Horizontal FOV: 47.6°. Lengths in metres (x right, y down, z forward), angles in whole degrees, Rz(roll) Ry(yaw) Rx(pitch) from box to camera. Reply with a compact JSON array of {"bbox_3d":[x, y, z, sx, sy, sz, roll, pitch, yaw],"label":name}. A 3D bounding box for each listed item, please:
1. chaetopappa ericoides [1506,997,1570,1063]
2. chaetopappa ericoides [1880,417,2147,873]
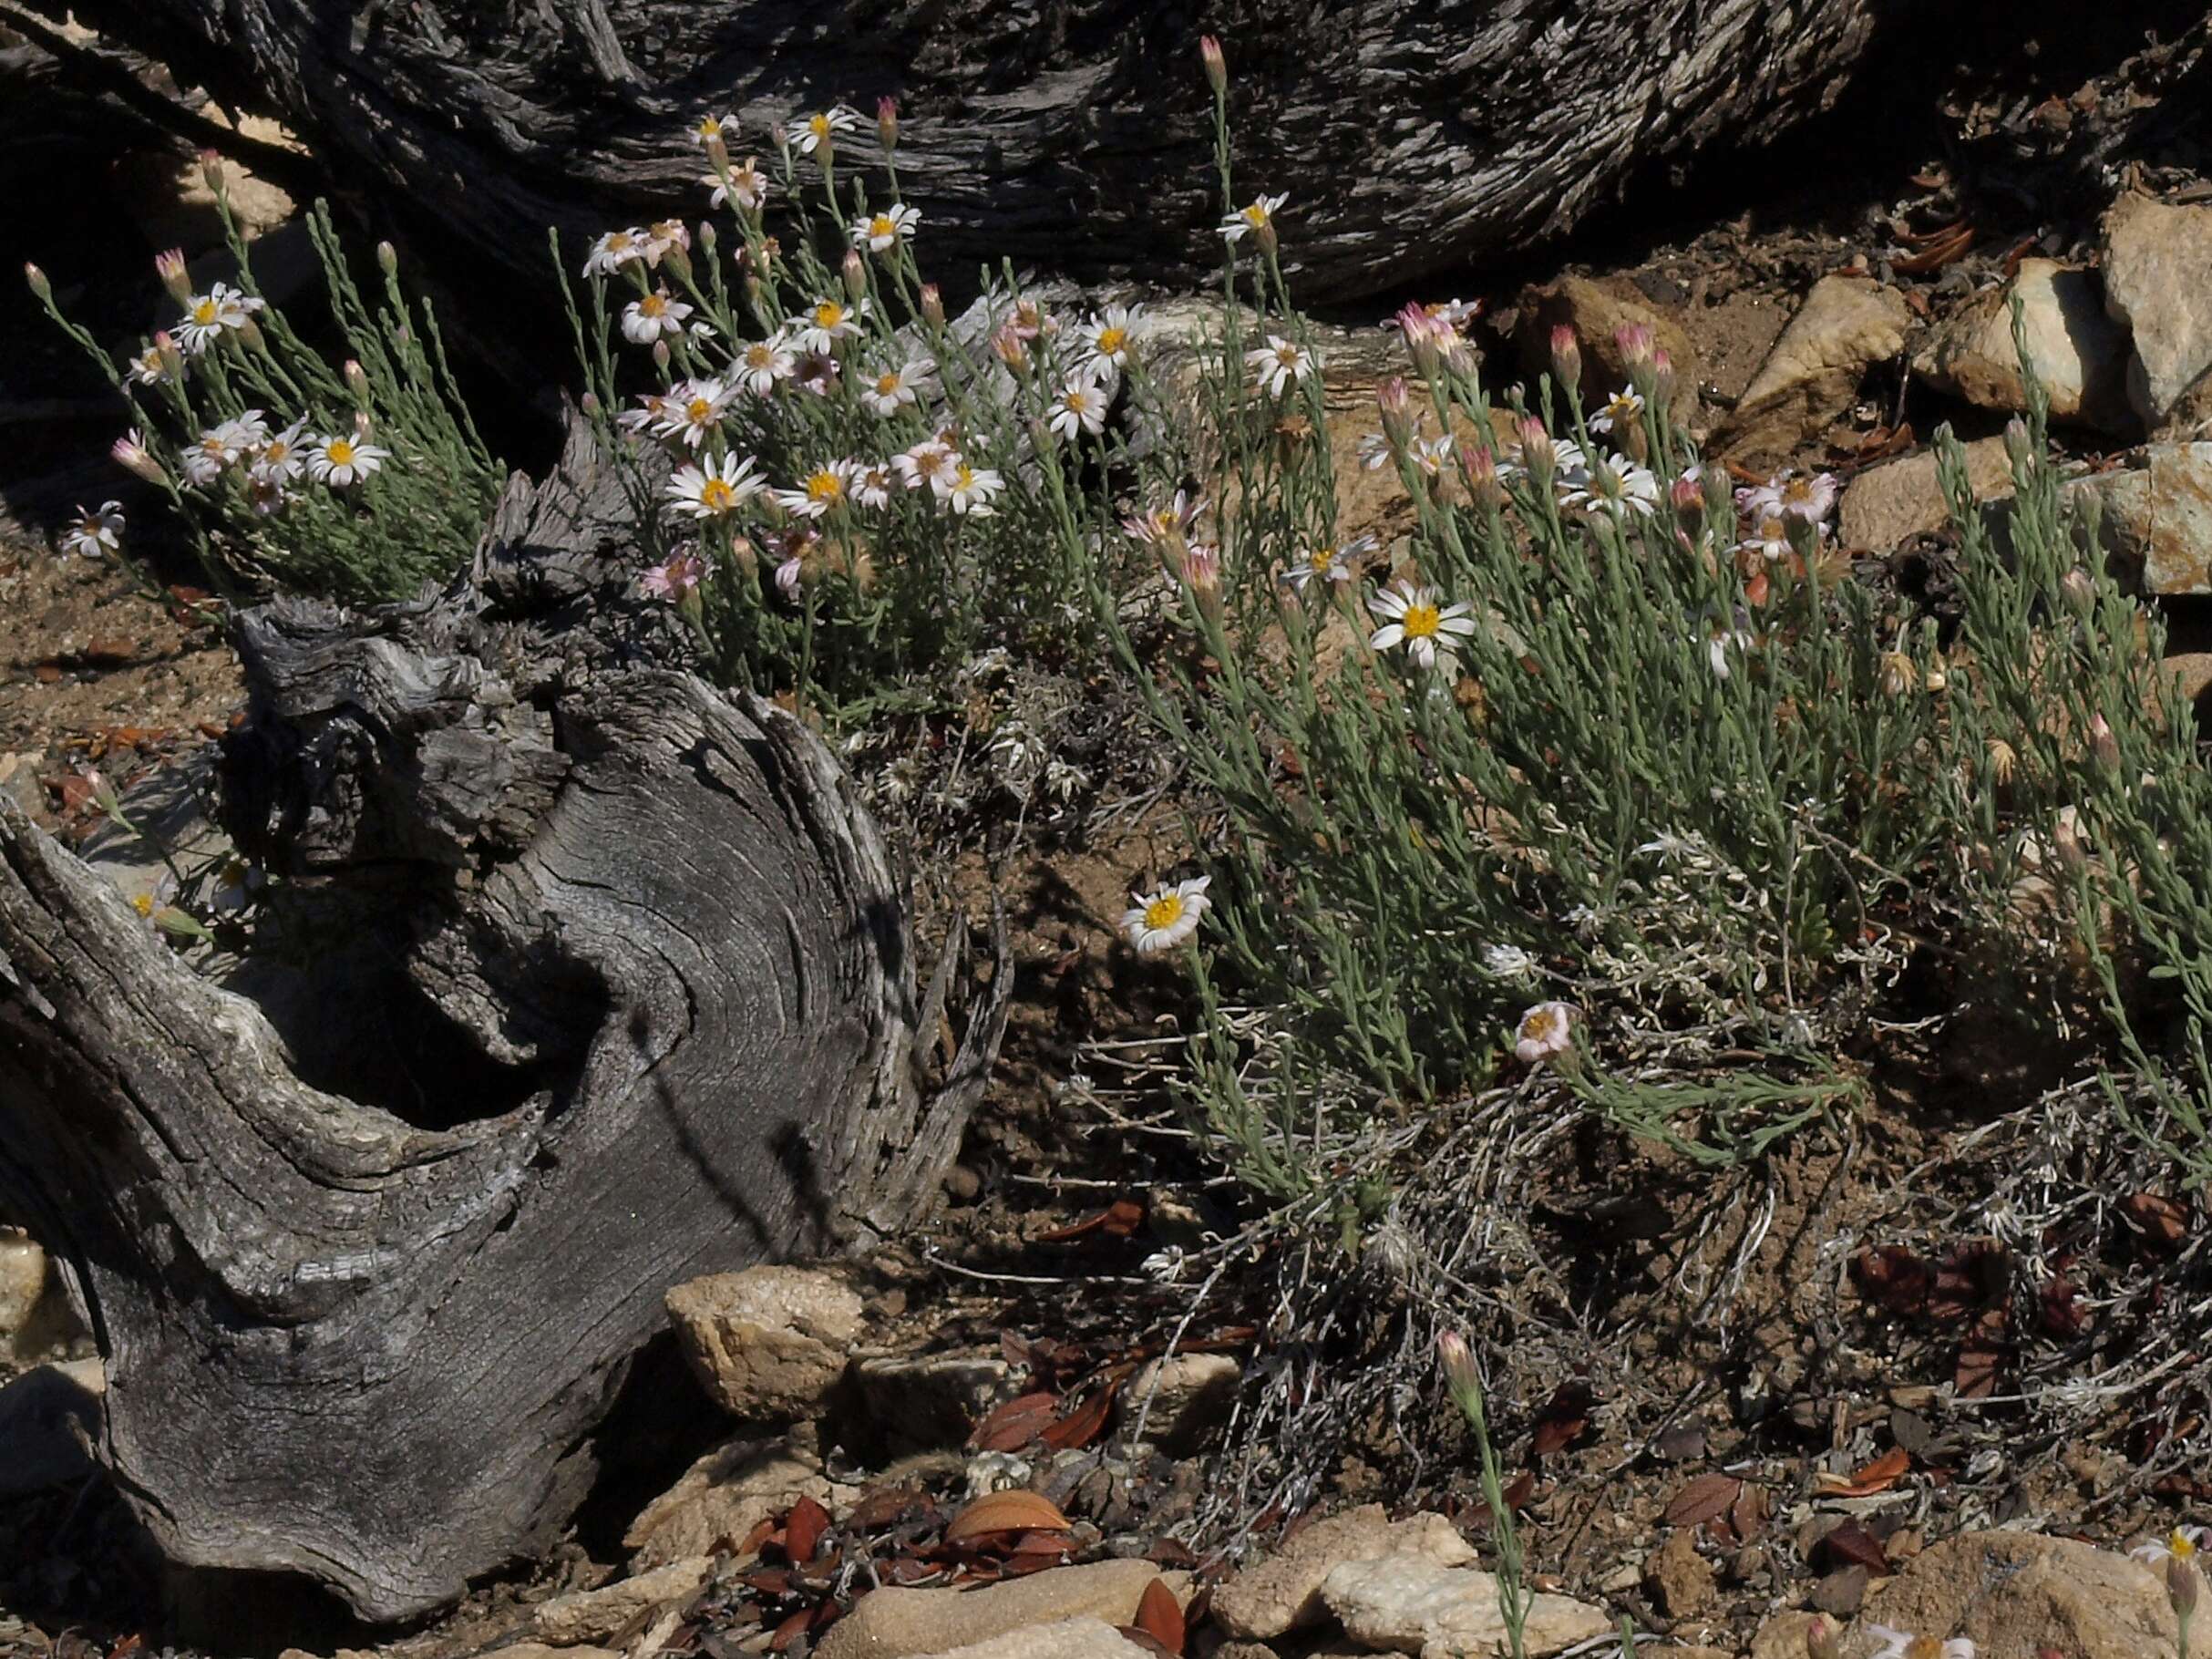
[{"bbox_3d":[0.759,0.357,4.361,0.099,0.092,0.140,-10,28,15],"label":"chaetopappa ericoides"},{"bbox_3d":[1.783,-0.471,4.848,0.439,0.922,1.200,-4,30,22],"label":"chaetopappa ericoides"}]
